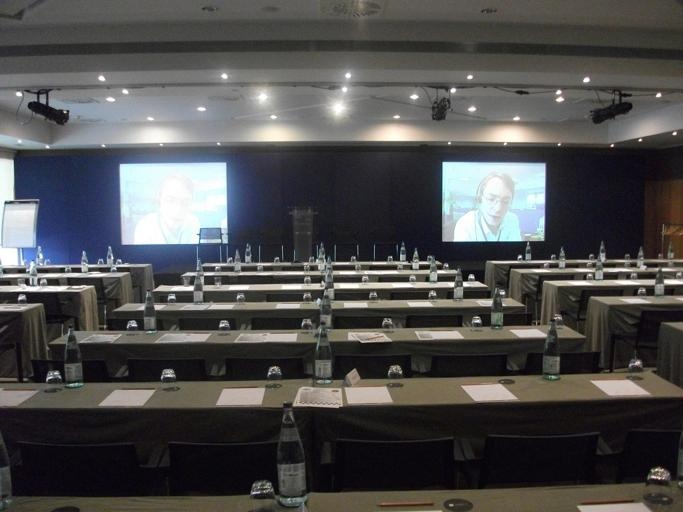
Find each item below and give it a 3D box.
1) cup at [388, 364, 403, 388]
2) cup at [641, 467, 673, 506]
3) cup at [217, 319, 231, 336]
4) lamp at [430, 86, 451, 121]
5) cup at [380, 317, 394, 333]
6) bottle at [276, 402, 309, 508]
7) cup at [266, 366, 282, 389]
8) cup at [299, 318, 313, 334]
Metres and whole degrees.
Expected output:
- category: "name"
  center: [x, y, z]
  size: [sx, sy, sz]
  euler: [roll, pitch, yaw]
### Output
- category: "cup"
  center: [0.373, 0.837, 3.854]
  size: [0.143, 0.144, 0.128]
  euler: [0, 7, 10]
- category: "cup"
  center: [1.498, 1.092, 2.628]
  size: [0.120, 0.162, 0.150]
  euler: [4, 13, 34]
- category: "cup"
  center: [-1.128, 0.692, 5.349]
  size: [0.112, 0.209, 0.120]
  euler: [-1, 1, 0]
- category: "lamp"
  center: [1.863, -2.789, 10.105]
  size: [0.465, 0.677, 0.283]
  euler: [3, 4, -6]
- category: "cup"
  center: [0.459, 0.669, 5.325]
  size: [0.100, 0.072, 0.186]
  euler: [0, 4, 2]
- category: "bottle"
  center: [-0.235, 0.951, 2.657]
  size: [0.142, 0.484, 0.327]
  euler: [-1, 2, -7]
- category: "cup"
  center: [-0.459, 0.847, 3.859]
  size: [0.117, 0.129, 0.113]
  euler: [1, 0, 0]
- category: "cup"
  center: [-0.337, 0.681, 5.325]
  size: [0.092, 0.049, 0.131]
  euler: [-1, 28, 0]
